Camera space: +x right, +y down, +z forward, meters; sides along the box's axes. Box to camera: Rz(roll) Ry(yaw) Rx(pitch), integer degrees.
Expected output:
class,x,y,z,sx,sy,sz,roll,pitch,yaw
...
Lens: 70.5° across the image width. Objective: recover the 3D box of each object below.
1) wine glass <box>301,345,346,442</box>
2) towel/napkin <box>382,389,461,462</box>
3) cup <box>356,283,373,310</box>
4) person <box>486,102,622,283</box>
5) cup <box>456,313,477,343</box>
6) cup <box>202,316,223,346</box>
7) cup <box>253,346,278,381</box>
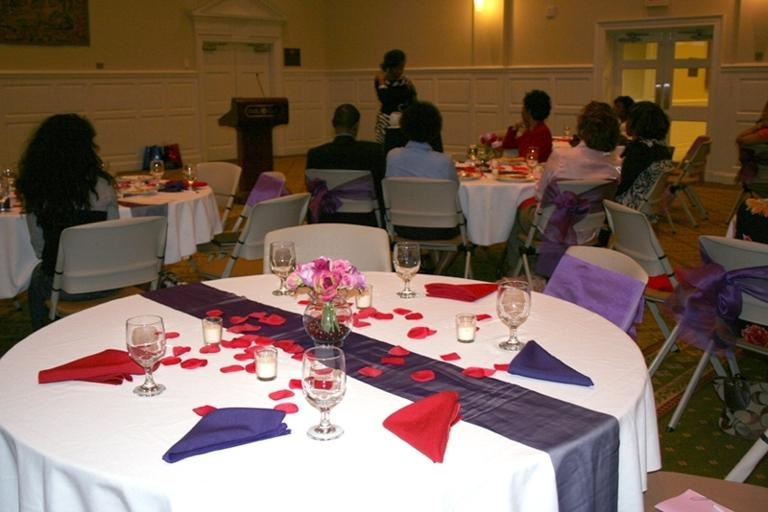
class,x,y,z,sx,sy,sz,roll,pitch,yaw
wine glass,-0.158,0.349,1.431,0.110,0.232,0.131,-6,19,-13
towel/napkin,0.091,0.437,1.432,0.178,0.070,0.216,5,19,20
cup,-0.069,0.160,2.118,0.089,0.105,0.090,4,7,0
person,1.433,-0.433,4.208,0.833,1.411,0.921,-2,18,0
cup,0.290,0.253,1.912,0.083,0.092,0.086,0,2,0
cup,-0.602,0.262,1.902,0.082,0.095,0.081,3,6,0
cup,-0.362,0.331,1.687,0.090,0.105,0.092,0,2,0
